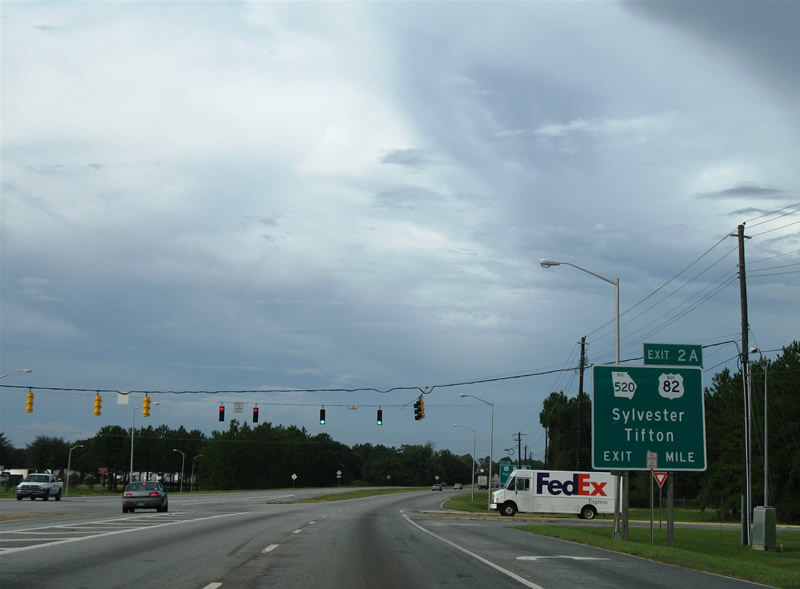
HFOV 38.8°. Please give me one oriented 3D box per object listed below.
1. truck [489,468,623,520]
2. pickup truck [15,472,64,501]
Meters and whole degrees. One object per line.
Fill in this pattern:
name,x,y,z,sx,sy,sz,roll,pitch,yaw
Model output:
truck,11.500,13.244,83.973,11.748,5.445,4.648,-3,-11,19
pickup truck,-26.874,14.349,85.294,2.503,2.143,4.069,0,-16,-1
